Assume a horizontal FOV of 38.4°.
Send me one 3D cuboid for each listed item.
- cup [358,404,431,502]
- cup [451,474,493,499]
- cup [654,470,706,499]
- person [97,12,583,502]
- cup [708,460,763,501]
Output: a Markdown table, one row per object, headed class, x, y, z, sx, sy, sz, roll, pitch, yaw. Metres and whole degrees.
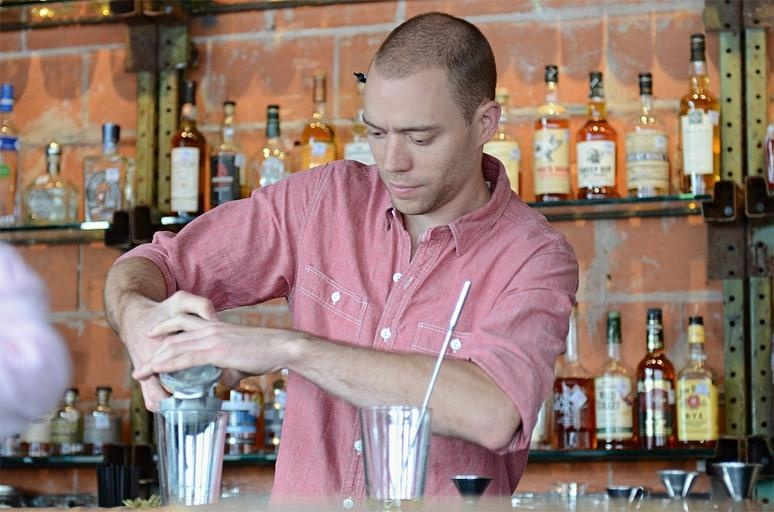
| class | x | y | z | sx | sy | sz | roll | pitch | yaw |
| --- | --- | --- | --- | --- | --- | --- | --- | --- | --- |
| cup | 0.017 | 0.402 | 2.276 | 0.181 | 0.272 | 0.172 | 0 | -11 | 0 |
| cup | 0.191 | 0.519 | 2.517 | 0.087 | 0.048 | 0.049 | -1 | -6 | 3 |
| cup | 0.778 | 0.590 | 2.970 | 0.091 | 0.059 | 0.101 | 6 | -8 | -30 |
| person | -0.088 | -0.076 | 2.752 | 1.103 | 1.105 | 0.569 | -2 | -6 | 7 |
| cup | 0.910 | 0.570 | 2.897 | 0.148 | 0.100 | 0.126 | -3 | -8 | 2 |
